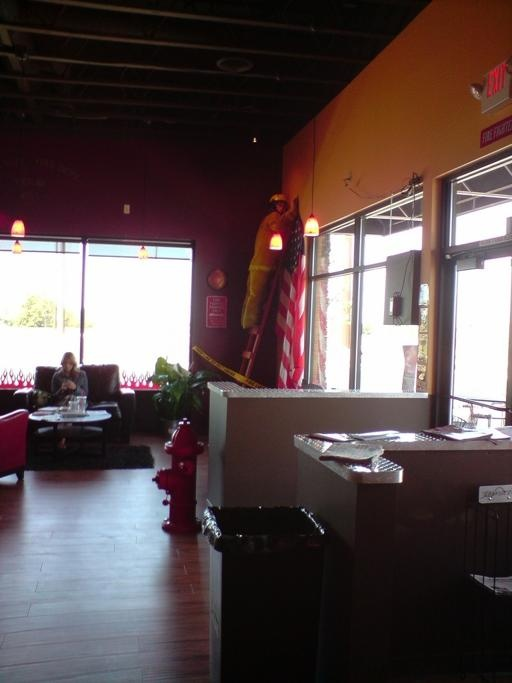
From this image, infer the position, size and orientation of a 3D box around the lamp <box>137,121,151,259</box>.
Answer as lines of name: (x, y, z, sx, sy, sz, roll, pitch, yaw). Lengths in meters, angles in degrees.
lamp: (-1.391, -1.906, 7.123, 0.092, 1.261, 0.120, 2, 0, -14)

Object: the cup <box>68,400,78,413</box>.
cup: (-1.844, 0.652, 5.713, 0.103, 0.191, 0.103, 0, -11, 0)

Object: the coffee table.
coffee table: (-1.882, 0.855, 5.814, 0.663, 0.343, 0.656, 3, -3, -38)

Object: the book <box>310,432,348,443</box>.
book: (0.256, 0.340, 1.980, 0.143, 0.012, 0.173, 2, 0, 4)

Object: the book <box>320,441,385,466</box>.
book: (0.288, 0.342, 1.739, 0.185, 0.060, 0.292, 2, 0, 14)

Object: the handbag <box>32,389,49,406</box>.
handbag: (-2.430, 0.633, 6.375, 0.094, 0.142, 0.041, 24, 7, -36)

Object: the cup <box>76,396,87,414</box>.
cup: (-1.797, 0.650, 5.822, 0.101, 0.144, 0.343, 2, 0, -19)

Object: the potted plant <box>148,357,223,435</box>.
potted plant: (-0.920, 0.643, 7.105, 0.935, 0.988, 0.975, 3, -5, -24)

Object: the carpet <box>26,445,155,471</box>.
carpet: (-1.667, 1.144, 5.805, 1.193, 0.175, 1.041, 2, 0, -14)
